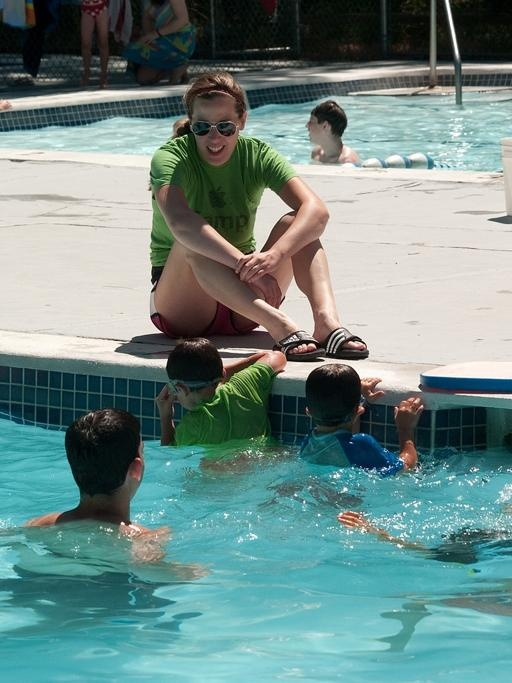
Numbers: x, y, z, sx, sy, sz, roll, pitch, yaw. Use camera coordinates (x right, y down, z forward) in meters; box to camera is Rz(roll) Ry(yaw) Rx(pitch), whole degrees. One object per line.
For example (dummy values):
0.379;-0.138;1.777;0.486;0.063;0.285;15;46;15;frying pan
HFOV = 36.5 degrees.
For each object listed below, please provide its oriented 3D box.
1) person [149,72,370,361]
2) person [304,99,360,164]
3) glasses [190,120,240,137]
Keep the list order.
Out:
-0.039;-0.514;3.121;0.755;1.128;0.724;1;7;-9;person
0.770;-2.090;7.908;0.574;0.667;0.729;-1;23;-6;person
-0.165;-0.828;3.050;0.180;0.062;0.069;1;6;-3;glasses
